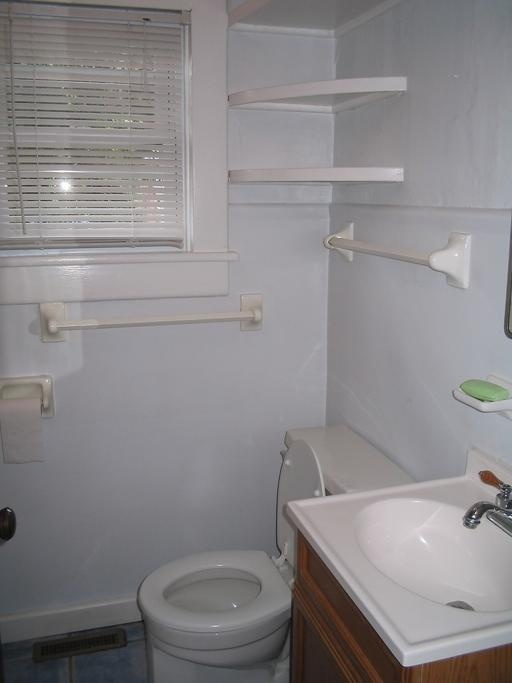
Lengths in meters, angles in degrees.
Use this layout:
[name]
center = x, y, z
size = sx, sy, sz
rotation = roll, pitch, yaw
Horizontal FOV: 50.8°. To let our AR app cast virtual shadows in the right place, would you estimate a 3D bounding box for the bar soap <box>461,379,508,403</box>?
[bar soap]
center = 0.398, 0.075, 0.948
size = 0.039, 0.015, 0.057
rotation = -9, 19, -11
